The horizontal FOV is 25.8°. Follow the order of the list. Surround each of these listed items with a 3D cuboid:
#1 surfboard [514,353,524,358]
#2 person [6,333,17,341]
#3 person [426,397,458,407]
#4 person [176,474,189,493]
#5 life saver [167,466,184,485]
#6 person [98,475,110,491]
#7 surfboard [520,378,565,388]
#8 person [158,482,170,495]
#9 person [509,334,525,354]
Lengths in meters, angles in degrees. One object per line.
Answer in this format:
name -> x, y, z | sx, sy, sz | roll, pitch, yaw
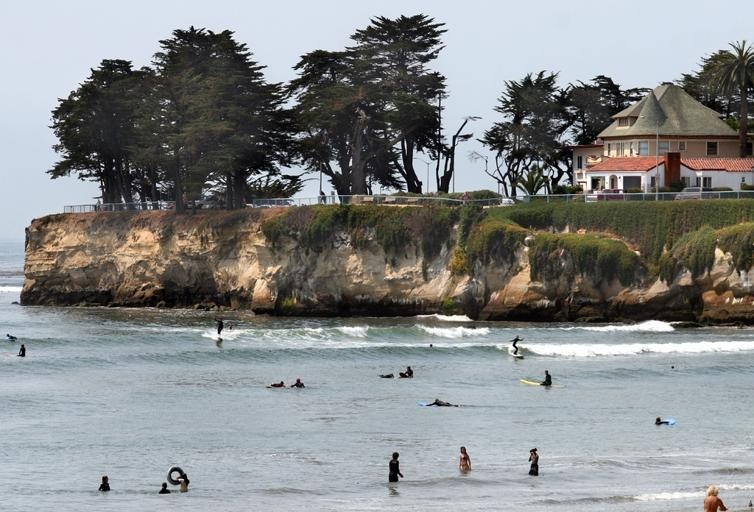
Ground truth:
surfboard -> 11.560, 8.195, 134.139 | 0.756, 0.347, 0.877 | -1, -1, -19
person -> -30.969, 6.997, 140.548 | 0.954, 0.490, 0.688 | 11, 16, 28
person -> 4.882, 10.932, 121.823 | 1.438, 0.467, 0.894 | -4, -17, -42
person -> -12.763, 15.253, 110.000 | 0.621, 1.184, 0.786 | -1, -1, -5
life saver -> -13.173, 14.842, 110.586 | 1.317, 1.148, 0.403 | -4, -2, 25
person -> -18.087, 15.310, 110.166 | 0.918, 0.972, 0.611 | 5, 14, 7
surfboard -> 12.473, 9.913, 126.587 | 3.389, 0.442, 1.039 | 1, 0, 44
person -> -14.027, 15.592, 109.796 | 0.777, 0.606, 0.369 | 4, 28, -1
person -> 11.554, 7.342, 135.903 | 1.301, 0.734, 2.037 | 7, 34, -1
